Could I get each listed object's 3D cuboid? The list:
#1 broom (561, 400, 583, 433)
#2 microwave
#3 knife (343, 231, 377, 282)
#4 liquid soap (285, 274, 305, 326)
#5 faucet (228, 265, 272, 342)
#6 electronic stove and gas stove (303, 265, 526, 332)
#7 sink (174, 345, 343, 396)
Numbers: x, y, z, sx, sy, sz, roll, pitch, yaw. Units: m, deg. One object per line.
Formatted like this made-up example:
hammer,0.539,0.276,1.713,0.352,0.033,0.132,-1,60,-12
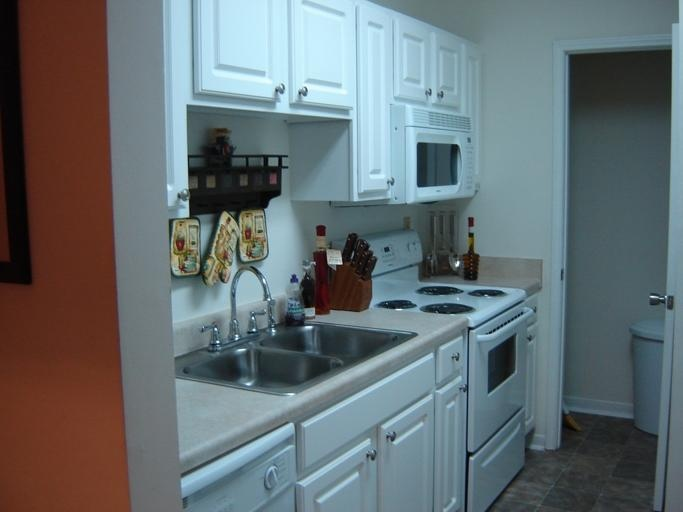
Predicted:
broom,1.617,1.078,3.894,0.122,0.167,0.355,2,8,23
microwave,0.496,-0.562,3.092,0.233,0.484,0.722,4,10,40
knife,0.085,0.004,2.703,0.166,0.218,0.132,-1,7,0
liquid soap,-0.206,0.185,2.450,0.083,0.204,0.174,-1,7,-6
faucet,-0.358,0.184,2.181,0.156,0.294,0.246,-5,-1,-29
electronic stove and gas stove,0.547,0.270,2.969,0.738,0.235,0.755,-9,0,36
sink,-0.372,0.414,2.009,0.269,0.081,0.283,6,10,31
